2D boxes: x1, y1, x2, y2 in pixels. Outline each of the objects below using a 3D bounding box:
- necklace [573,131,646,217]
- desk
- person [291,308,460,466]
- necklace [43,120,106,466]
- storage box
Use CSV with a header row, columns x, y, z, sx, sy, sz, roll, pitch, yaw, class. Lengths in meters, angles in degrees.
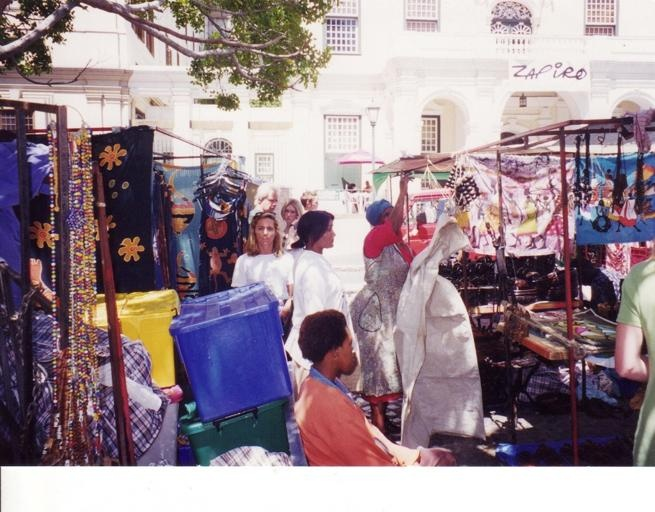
x,y,z,sx,sy,sz,roll,pitch,yaw,class
2.912,-0.819,8.276,0.778,0.926,0.089,-1,2,-20,necklace
2.271,1.002,8.004,0.902,1.512,1.381,-2,4,-9,desk
0.292,1.158,6.781,1.114,1.451,0.854,-1,3,-15,person
-2.098,0.352,6.546,0.179,2.781,0.465,2,3,36,necklace
-1.079,1.096,7.155,1.111,1.975,1.221,-15,0,-9,storage box
